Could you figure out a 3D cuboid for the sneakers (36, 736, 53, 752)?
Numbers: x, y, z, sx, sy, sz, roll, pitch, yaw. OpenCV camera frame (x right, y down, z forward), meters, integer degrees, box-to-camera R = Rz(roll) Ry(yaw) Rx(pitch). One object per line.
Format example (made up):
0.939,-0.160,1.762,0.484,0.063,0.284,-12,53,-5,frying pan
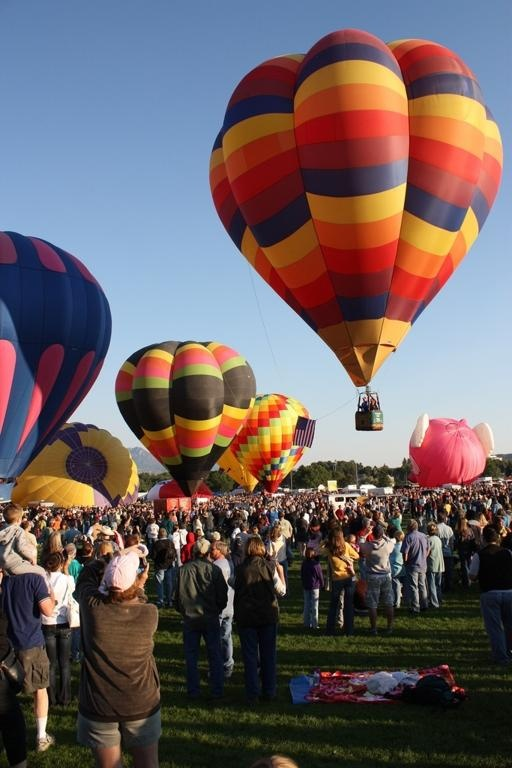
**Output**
-1.373,2.347,4.022,0.047,0.060,0.132,0,-7,15,sneakers

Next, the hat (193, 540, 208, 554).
-0.457,1.351,5.130,0.093,0.119,0.125,1,-6,-1,hat

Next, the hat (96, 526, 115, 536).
-1.595,1.546,6.498,0.155,0.074,0.205,4,-4,-6,hat

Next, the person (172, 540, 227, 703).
-0.459,2.017,5.096,0.413,1.179,0.323,0,-8,-7,person

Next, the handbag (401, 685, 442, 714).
1.270,2.421,4.741,0.320,0.110,0.123,-8,-11,43,handbag

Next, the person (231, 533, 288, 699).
0.007,1.921,4.998,0.357,1.290,0.290,7,-11,-42,person

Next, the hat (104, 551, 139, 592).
-0.569,0.798,2.668,0.118,0.177,0.059,-1,-32,9,hat
